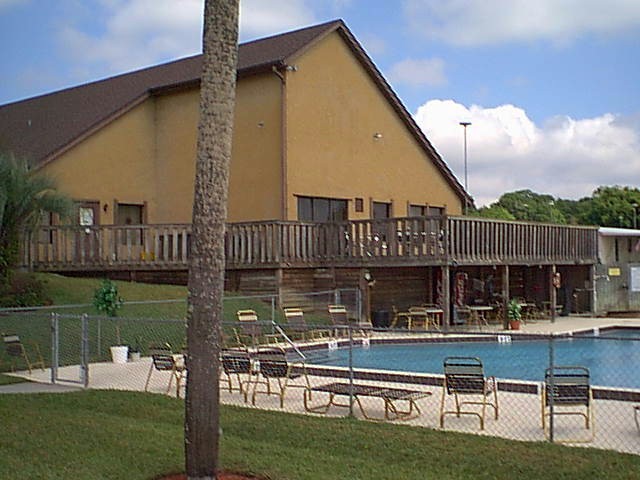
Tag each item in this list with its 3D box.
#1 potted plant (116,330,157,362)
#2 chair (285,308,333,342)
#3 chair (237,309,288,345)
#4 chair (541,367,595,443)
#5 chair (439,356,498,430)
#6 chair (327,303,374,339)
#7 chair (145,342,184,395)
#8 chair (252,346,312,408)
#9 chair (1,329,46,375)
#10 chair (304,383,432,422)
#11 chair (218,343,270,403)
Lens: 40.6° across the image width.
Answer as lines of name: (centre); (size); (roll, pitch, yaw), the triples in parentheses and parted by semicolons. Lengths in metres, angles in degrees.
potted plant: (-5.488, 3.109, 25.324); (1.009, 0.579, 1.411); (0, -6, -1)
chair: (-0.738, 2.806, 28.281); (0.664, 1.012, 1.312); (-5, 5, -11)
chair: (-1.983, 2.862, 27.088); (1.376, 1.023, 1.347); (2, -2, -40)
chair: (5.318, 3.265, 18.621); (0.997, 1.728, 1.496); (1, 20, 20)
chair: (3.335, 3.301, 19.277); (0.929, 1.499, 1.787); (-1, -2, 24)
chair: (1.081, 2.891, 29.480); (1.716, 1.280, 0.986); (-2, -7, 43)
chair: (-3.713, 3.129, 21.389); (0.857, 1.284, 0.893); (-4, -6, 16)
chair: (-0.860, 3.151, 20.601); (0.955, 1.298, 0.981); (5, -12, -29)
chair: (-8.046, 3.062, 23.416); (1.130, 1.313, 0.920); (-3, -4, 22)
chair: (1.093, 3.655, 19.716); (2.862, 0.839, 1.640); (-5, -11, 22)
chair: (-1.880, 3.227, 20.722); (0.622, 0.902, 0.611); (3, -2, 38)
